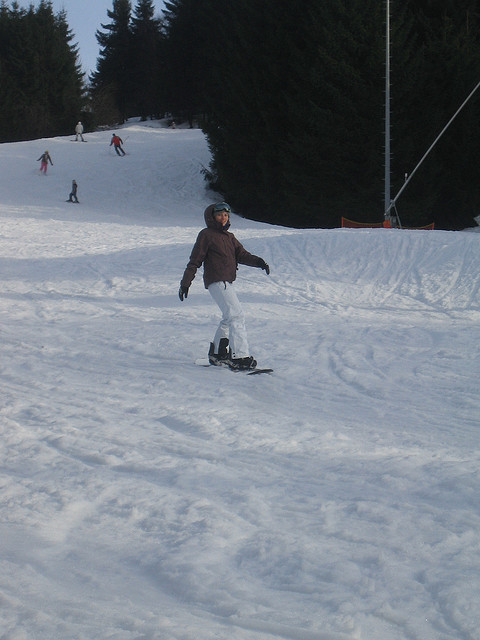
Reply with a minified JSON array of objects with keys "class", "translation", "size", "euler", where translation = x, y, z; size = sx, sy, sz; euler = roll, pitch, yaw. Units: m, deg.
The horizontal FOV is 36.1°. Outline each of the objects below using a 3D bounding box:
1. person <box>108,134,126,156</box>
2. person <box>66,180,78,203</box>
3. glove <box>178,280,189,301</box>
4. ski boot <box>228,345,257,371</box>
[{"class":"person","translation":[-5.881,-8.427,35.369],"size":[0.744,0.967,1.595],"euler":[3,12,-11]},{"class":"person","translation":[-6.250,-4.801,27.328],"size":[0.409,0.808,1.242],"euler":[3,12,-12]},{"class":"glove","translation":[-0.544,-0.273,7.065],"size":[0.074,0.209,0.057],"euler":[7,47,-18]},{"class":"ski boot","translation":[0.000,0.421,7.432],"size":[0.282,0.149,0.162],"euler":[6,12,4]}]
